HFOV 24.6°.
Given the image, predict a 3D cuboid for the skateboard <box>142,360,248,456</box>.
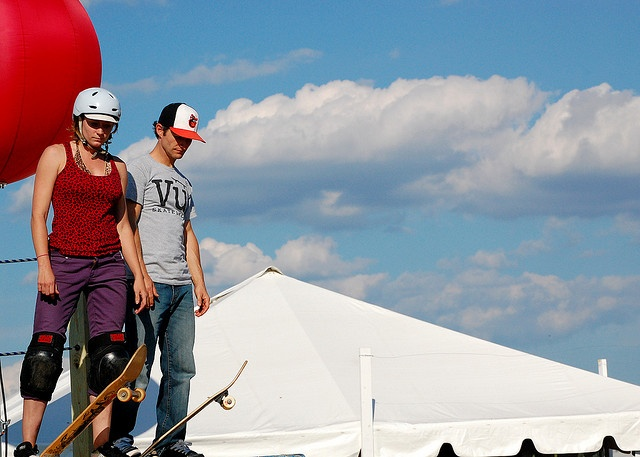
[{"bbox_3d":[-1.262,1.833,14.921,1.243,0.228,0.298,-46,-9,-9],"label":"skateboard"}]
